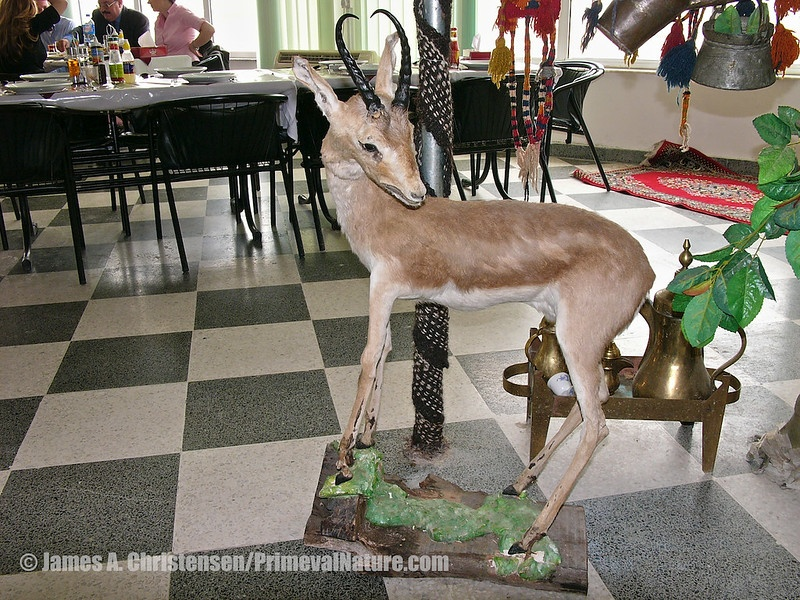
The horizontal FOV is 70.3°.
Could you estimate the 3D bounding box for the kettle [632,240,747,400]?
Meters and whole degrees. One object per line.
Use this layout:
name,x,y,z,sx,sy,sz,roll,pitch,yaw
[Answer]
kettle,0.935,0.104,1.846,0.241,0.559,0.370,-7,12,-44

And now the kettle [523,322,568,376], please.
kettle,0.493,0.187,1.947,0.156,0.200,0.101,3,10,-25

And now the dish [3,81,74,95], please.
dish,-2.121,-1.236,3.302,0.357,0.070,0.438,-14,26,-23

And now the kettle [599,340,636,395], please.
kettle,0.712,0.222,1.893,0.065,0.182,0.101,8,-10,-15

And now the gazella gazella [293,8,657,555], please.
gazella gazella,0.141,-0.030,1.487,0.959,1.191,0.564,13,24,7

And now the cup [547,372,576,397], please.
cup,0.503,0.263,1.780,0.076,0.070,0.057,-26,36,1

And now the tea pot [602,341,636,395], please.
tea pot,0.701,0.224,1.898,0.067,0.181,0.103,-2,-6,-13

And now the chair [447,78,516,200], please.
chair,0.559,-1.125,4.012,0.589,0.761,0.573,7,10,27

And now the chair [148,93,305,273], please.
chair,-1.109,-0.744,3.641,0.742,0.983,0.785,-5,46,-12
